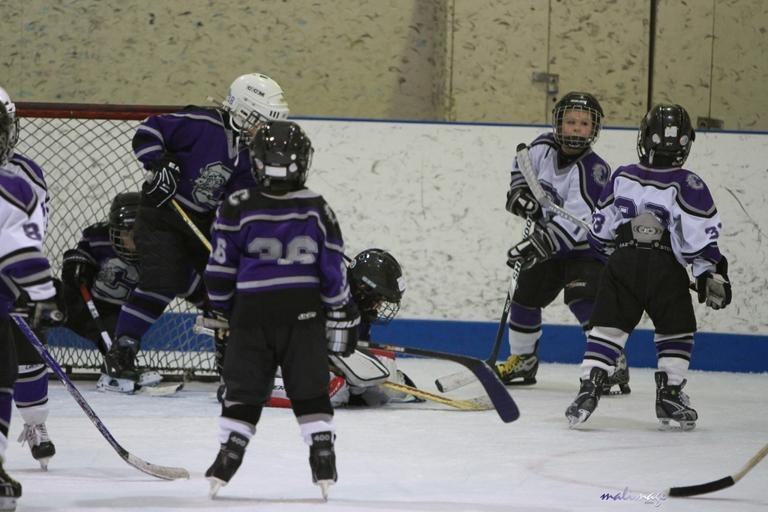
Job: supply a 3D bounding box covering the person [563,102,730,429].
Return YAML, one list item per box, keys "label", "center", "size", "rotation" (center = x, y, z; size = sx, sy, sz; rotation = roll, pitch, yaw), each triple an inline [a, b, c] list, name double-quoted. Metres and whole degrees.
- label: "person"
  center: [1.311, 0.204, 4.629]
  size: [0.686, 1.269, 0.485]
  rotation: [6, 11, 17]

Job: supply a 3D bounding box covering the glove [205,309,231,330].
- label: "glove"
  center: [-0.802, 0.316, 4.598]
  size: [0.179, 0.096, 0.225]
  rotation: [5, -4, -18]

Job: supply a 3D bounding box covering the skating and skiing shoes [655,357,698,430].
- label: "skating and skiing shoes"
  center: [1.447, 0.732, 4.704]
  size: [0.327, 0.276, 0.104]
  rotation: [13, -12, -37]

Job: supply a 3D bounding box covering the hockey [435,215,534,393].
- label: "hockey"
  center: [0.583, 0.303, 5.493]
  size: [0.334, 1.220, 0.241]
  rotation: [-8, 37, -24]

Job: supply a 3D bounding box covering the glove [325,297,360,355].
- label: "glove"
  center: [-0.168, 0.300, 3.797]
  size: [0.174, 0.195, 0.208]
  rotation: [1, 1, -5]

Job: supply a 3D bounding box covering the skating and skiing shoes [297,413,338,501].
- label: "skating and skiing shoes"
  center: [-0.224, 0.768, 3.702]
  size: [0.184, 0.306, 0.228]
  rotation: [-2, 11, -27]

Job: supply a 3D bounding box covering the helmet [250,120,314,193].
- label: "helmet"
  center: [-0.403, -0.416, 3.906]
  size: [0.285, 0.262, 0.324]
  rotation: [6, 13, 7]

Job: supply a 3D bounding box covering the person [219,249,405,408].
- label: "person"
  center: [-0.182, 0.461, 5.183]
  size: [0.819, 0.919, 0.404]
  rotation: [24, -5, -1]

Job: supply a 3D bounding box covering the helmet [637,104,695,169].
- label: "helmet"
  center: [1.431, -0.617, 4.863]
  size: [0.285, 0.314, 0.321]
  rotation: [8, 12, 12]

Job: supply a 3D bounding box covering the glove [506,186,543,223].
- label: "glove"
  center: [0.790, -0.293, 5.581]
  size: [0.212, 0.094, 0.205]
  rotation: [46, -24, -27]

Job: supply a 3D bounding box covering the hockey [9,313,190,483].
- label: "hockey"
  center: [-1.386, 0.703, 4.613]
  size: [1.111, 0.127, 0.138]
  rotation: [38, 18, 36]

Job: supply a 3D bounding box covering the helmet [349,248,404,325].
- label: "helmet"
  center: [-0.058, 0.141, 4.947]
  size: [0.341, 0.341, 0.287]
  rotation: [19, 14, -1]

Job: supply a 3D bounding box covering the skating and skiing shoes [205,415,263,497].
- label: "skating and skiing shoes"
  center: [-0.601, 0.771, 3.695]
  size: [0.137, 0.285, 0.246]
  rotation: [9, 11, 32]

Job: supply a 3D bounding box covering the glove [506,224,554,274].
- label: "glove"
  center: [0.857, -0.029, 5.556]
  size: [0.298, 0.207, 0.138]
  rotation: [-27, -29, 11]

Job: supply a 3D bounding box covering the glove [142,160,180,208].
- label: "glove"
  center: [-1.201, -0.393, 5.188]
  size: [0.117, 0.188, 0.261]
  rotation: [-25, 2, -41]

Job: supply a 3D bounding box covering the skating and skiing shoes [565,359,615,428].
- label: "skating and skiing shoes"
  center: [0.988, 0.659, 4.686]
  size: [0.141, 0.368, 0.159]
  rotation: [37, -34, 1]
